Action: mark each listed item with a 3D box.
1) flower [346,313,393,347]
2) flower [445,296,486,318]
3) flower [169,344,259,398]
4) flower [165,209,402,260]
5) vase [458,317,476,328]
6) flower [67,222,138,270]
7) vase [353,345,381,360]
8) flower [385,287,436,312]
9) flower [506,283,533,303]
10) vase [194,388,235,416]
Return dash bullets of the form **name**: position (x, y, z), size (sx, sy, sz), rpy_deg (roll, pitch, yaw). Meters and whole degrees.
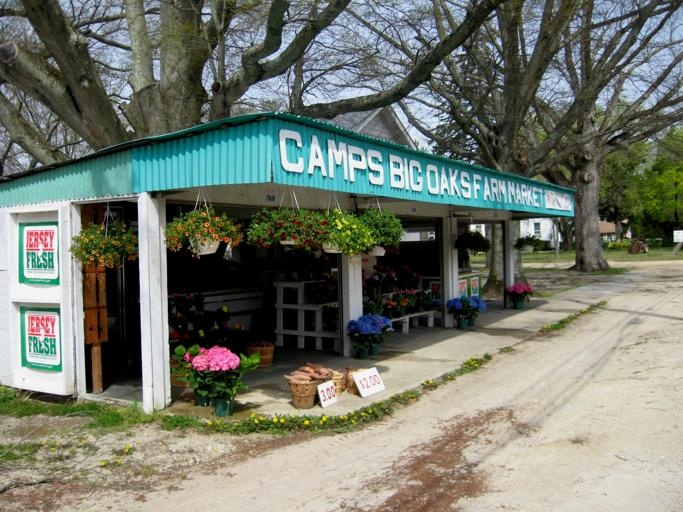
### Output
- **flower**: position (0.588, 1.416, 10.897), size (0.721, 0.456, 0.688), rpy_deg (4, -6, -29)
- **flower**: position (3.163, 1.298, 14.400), size (0.709, 0.432, 0.666), rpy_deg (0, 1, 3)
- **flower**: position (-1.881, 1.663, 8.267), size (1.135, 0.687, 0.978), rpy_deg (1, -5, -4)
- **flower**: position (-0.661, -0.367, 8.196), size (3.462, 0.737, 0.959), rpy_deg (-5, 8, -33)
- **vase**: position (3.206, 1.714, 14.437), size (0.336, 0.238, 0.286), rpy_deg (-2, 2, -10)
- **flower**: position (-3.515, -0.181, 8.425), size (0.819, 0.563, 0.878), rpy_deg (1, 1, 11)
- **vase**: position (0.537, 1.861, 11.118), size (0.639, 0.294, 0.299), rpy_deg (-5, 8, -32)
- **flower**: position (1.417, 1.084, 13.465), size (0.440, 0.688, 2.115), rpy_deg (-5, -7, 36)
- **flower**: position (5.544, 1.135, 17.608), size (0.736, 0.563, 0.691), rpy_deg (-1, -2, 1)
- **vase**: position (-1.839, 2.121, 8.144), size (0.358, 0.160, 0.490), rpy_deg (3, -6, -43)
